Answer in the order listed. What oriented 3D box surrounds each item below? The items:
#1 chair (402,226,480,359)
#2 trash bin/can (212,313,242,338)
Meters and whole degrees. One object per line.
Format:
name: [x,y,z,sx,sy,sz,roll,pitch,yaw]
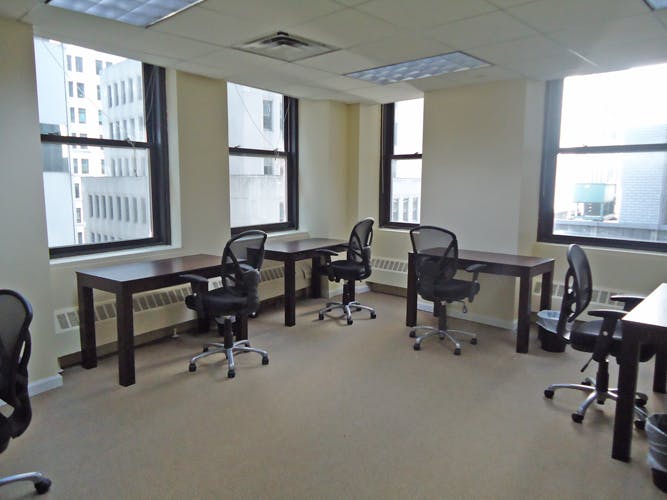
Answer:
chair: [1.188,0.369,5.372,0.739,1.281,0.956,4,10,35]
trash bin/can: [-1.072,0.806,5.316,0.419,0.277,0.142,-4,4,-12]
